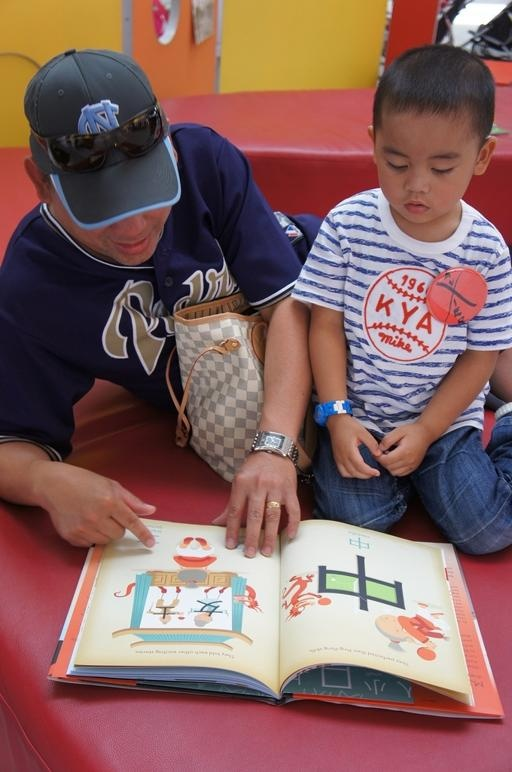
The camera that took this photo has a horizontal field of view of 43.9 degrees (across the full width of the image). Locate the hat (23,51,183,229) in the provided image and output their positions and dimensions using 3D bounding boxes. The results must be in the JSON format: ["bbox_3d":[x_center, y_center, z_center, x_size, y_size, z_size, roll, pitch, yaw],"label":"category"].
[{"bbox_3d":[-0.163,-0.282,0.708,0.170,0.237,0.088,-15,80,-12],"label":"hat"}]

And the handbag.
[{"bbox_3d":[-0.039,-0.006,1.050,0.195,0.279,0.261,-4,21,-6],"label":"handbag"}]

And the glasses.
[{"bbox_3d":[-0.174,-0.288,0.741,0.155,0.046,0.073,-17,43,-16],"label":"glasses"}]

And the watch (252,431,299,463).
[{"bbox_3d":[0.025,0.088,0.900,0.059,0.058,0.036,20,75,-12],"label":"watch"}]
